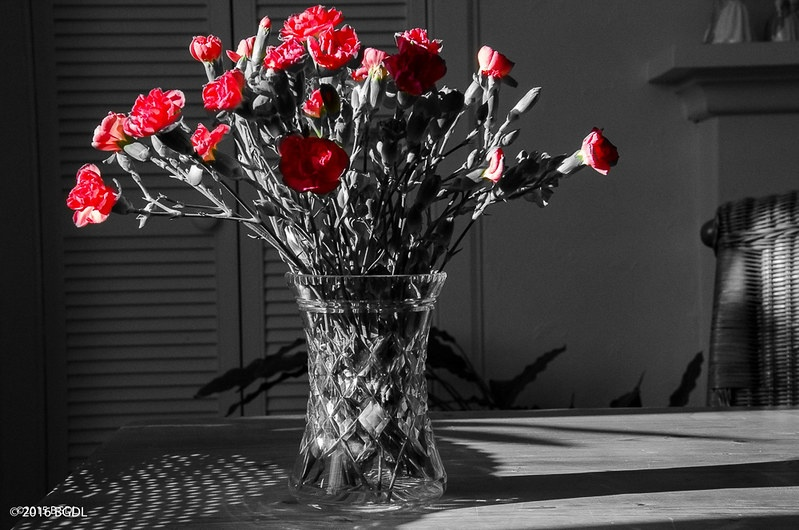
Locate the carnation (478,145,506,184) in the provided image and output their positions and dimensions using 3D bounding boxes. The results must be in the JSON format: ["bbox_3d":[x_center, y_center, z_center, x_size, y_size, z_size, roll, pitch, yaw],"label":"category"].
[{"bbox_3d":[0.162,-0.170,1.399,0.018,0.055,0.043,14,19,-29],"label":"carnation"}]

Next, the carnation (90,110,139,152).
[{"bbox_3d":[-0.489,-0.221,1.436,0.071,0.068,0.069,14,40,-6],"label":"carnation"}]

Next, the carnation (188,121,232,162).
[{"bbox_3d":[-0.297,-0.202,1.390,0.065,0.037,0.062,-39,15,-22],"label":"carnation"}]

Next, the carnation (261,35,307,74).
[{"bbox_3d":[-0.180,-0.329,1.357,0.059,0.029,0.055,-32,13,-12],"label":"carnation"}]

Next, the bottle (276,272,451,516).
[{"bbox_3d":[-0.057,0.215,1.529,0.293,0.374,0.303,-1,-3,0],"label":"bottle"}]

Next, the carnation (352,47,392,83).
[{"bbox_3d":[-0.045,-0.340,1.411,0.058,0.037,0.077,9,13,13],"label":"carnation"}]

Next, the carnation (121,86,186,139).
[{"bbox_3d":[-0.393,-0.243,1.337,0.097,0.070,0.041,-5,-13,21],"label":"carnation"}]

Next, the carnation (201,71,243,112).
[{"bbox_3d":[-0.281,-0.280,1.343,0.074,0.073,0.048,-2,-12,6],"label":"carnation"}]

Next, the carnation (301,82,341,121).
[{"bbox_3d":[-0.121,-0.261,1.365,0.052,0.051,0.078,5,-13,-23],"label":"carnation"}]

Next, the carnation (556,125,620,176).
[{"bbox_3d":[0.305,-0.176,1.424,0.095,0.065,0.057,-18,22,48],"label":"carnation"}]

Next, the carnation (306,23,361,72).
[{"bbox_3d":[-0.106,-0.351,1.367,0.087,0.091,0.066,2,-12,-12],"label":"carnation"}]
